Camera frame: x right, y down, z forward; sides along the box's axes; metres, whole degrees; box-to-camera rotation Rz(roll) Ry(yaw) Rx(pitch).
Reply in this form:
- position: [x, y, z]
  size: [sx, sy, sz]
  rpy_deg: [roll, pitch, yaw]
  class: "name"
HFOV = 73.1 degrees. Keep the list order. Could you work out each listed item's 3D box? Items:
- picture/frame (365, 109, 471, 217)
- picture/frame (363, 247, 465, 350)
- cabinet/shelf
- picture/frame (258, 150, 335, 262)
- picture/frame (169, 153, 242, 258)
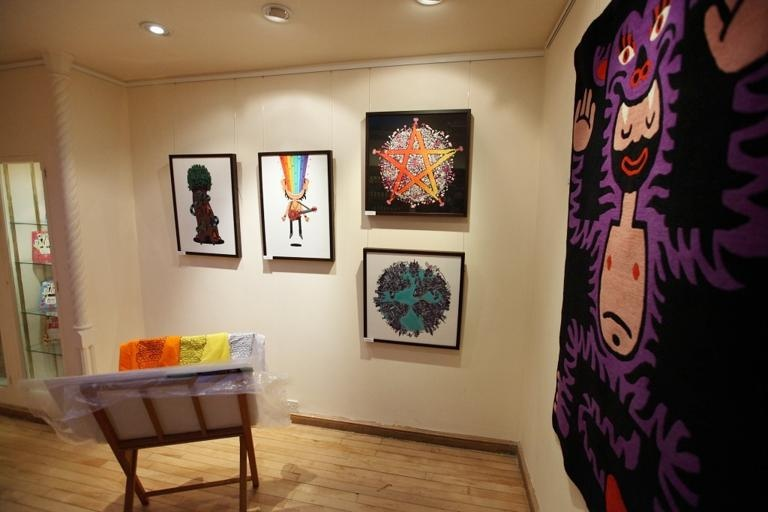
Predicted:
- position: [0.293, -0.740, 3.983]
  size: [0.789, 0.768, 0.062]
  rpy_deg: [2, 8, 9]
  class: "picture/frame"
- position: [0.266, 0.310, 4.115]
  size: [0.765, 0.755, 0.031]
  rpy_deg: [4, 16, 16]
  class: "picture/frame"
- position: [-2.970, 0.285, 4.435]
  size: [0.325, 1.152, 0.101]
  rpy_deg: [-1, 4, 2]
  class: "cabinet/shelf"
- position: [-0.695, -0.439, 4.228]
  size: [0.850, 1.209, 0.116]
  rpy_deg: [2, 8, 13]
  class: "picture/frame"
- position: [-1.497, -0.455, 4.413]
  size: [0.778, 1.065, 0.116]
  rpy_deg: [6, 20, 16]
  class: "picture/frame"
